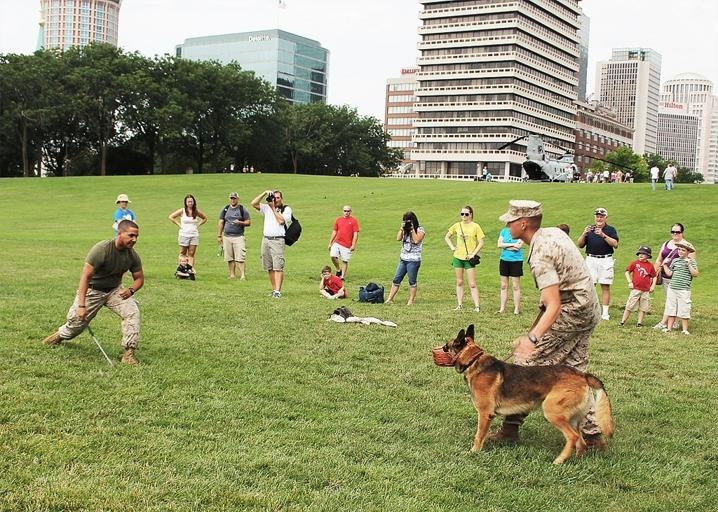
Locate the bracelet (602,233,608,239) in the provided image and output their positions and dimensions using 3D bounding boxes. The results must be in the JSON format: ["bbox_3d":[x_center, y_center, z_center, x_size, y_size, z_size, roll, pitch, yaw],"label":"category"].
[{"bbox_3d":[5.584,-0.455,20.331,0.089,0.060,0.083,15,-32,35],"label":"bracelet"}]

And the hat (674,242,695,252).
[{"bbox_3d":[7.167,-0.220,19.654,0.374,0.228,0.397,5,7,16],"label":"hat"}]

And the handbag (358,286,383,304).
[{"bbox_3d":[0.277,0.941,21.717,0.536,0.388,0.374,6,-10,-44],"label":"handbag"}]

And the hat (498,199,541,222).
[{"bbox_3d":[2.499,-0.633,13.798,0.548,0.223,0.398,-9,14,5],"label":"hat"}]

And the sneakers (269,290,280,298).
[{"bbox_3d":[-1.992,0.914,21.424,0.142,0.167,0.185,10,-22,-1],"label":"sneakers"}]

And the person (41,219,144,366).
[{"bbox_3d":[-4.502,0.560,15.665,1.367,2.467,0.890,2,7,-5],"label":"person"}]

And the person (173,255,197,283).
[{"bbox_3d":[-4.605,0.342,23.546,0.623,0.867,0.564,-10,21,-33],"label":"person"}]

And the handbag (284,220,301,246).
[{"bbox_3d":[-1.624,-0.535,21.859,0.582,0.591,0.390,2,-3,-5],"label":"handbag"}]

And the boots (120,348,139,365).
[{"bbox_3d":[-3.985,1.731,15.599,0.298,0.234,0.506,1,7,-16],"label":"boots"}]

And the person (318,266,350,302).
[{"bbox_3d":[-0.695,0.669,22.361,0.623,0.874,0.719,0,6,-6],"label":"person"}]

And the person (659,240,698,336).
[{"bbox_3d":[7.049,0.669,19.676,0.642,2.006,0.563,5,7,19],"label":"person"}]

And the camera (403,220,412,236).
[{"bbox_3d":[1.155,-0.670,21.125,0.258,0.288,0.109,3,11,13],"label":"camera"}]

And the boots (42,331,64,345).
[{"bbox_3d":[-5.408,1.488,15.792,0.268,0.111,0.224,-20,39,-33],"label":"boots"}]

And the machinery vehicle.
[{"bbox_3d":[16.073,-7.726,75.392,5.889,2.931,7.332,4,4,32],"label":"machinery vehicle"}]

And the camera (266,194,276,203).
[{"bbox_3d":[-2.113,-1.389,21.333,0.183,0.188,0.182,6,19,-7],"label":"camera"}]

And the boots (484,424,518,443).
[{"bbox_3d":[2.135,2.772,13.930,0.607,0.317,0.209,2,-9,-9],"label":"boots"}]

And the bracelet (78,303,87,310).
[{"bbox_3d":[-4.750,0.870,15.429,0.087,0.106,0.247,3,7,3],"label":"bracelet"}]
